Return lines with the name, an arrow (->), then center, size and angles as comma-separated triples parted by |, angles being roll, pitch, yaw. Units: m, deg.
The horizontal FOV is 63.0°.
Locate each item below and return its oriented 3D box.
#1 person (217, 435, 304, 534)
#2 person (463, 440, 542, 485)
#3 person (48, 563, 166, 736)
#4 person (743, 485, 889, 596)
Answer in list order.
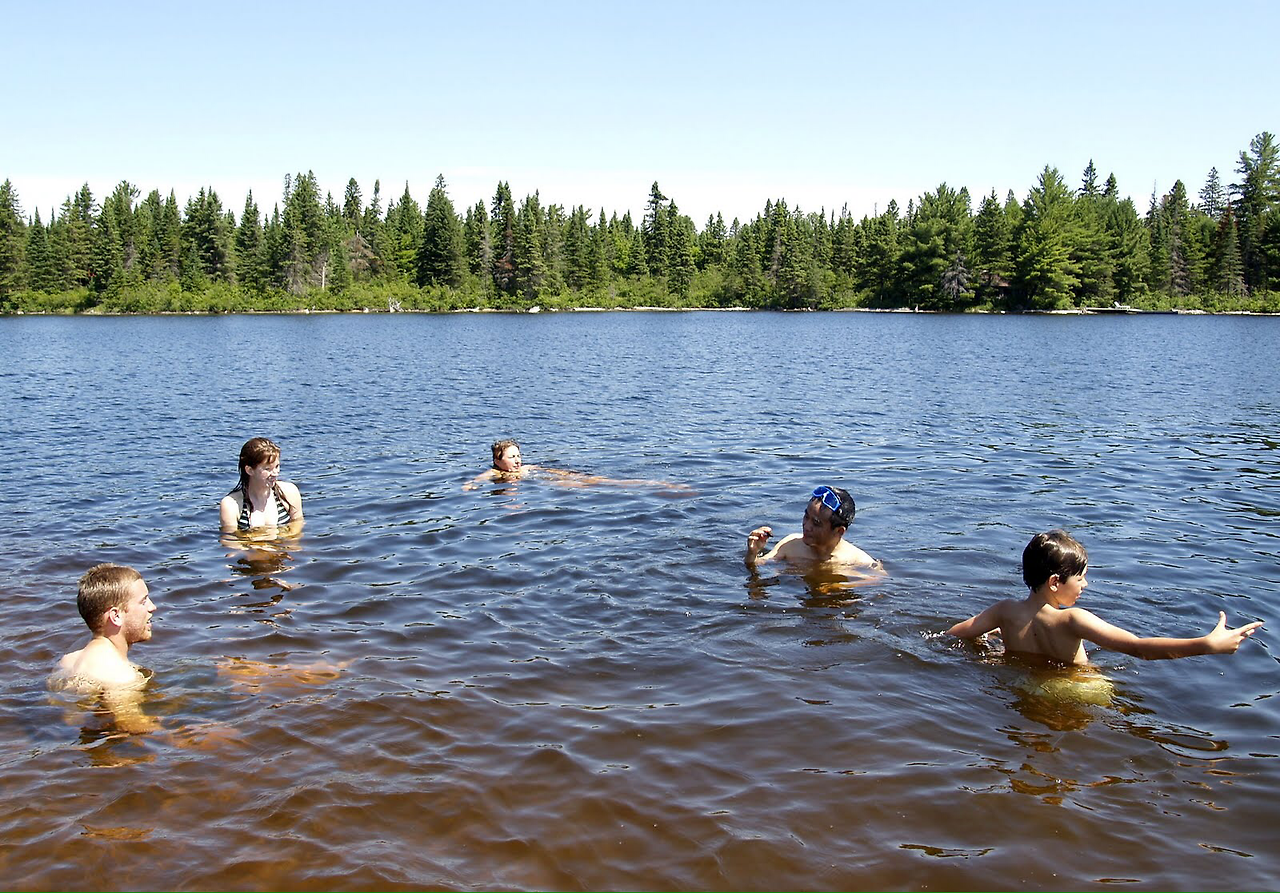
person -> -5.649, 0.613, 15.517 | 1.024, 1.455, 1.352 | 12, 14, 37
person -> -2.391, 0.244, 18.312 | 1.251, 0.643, 1.417 | -1, 8, -6
person -> -4.967, 1.800, 9.790 | 0.928, 1.250, 1.580 | -2, 9, -42
person -> 2.132, 1.037, 12.562 | 1.609, 1.056, 1.018 | 1, 9, 11
